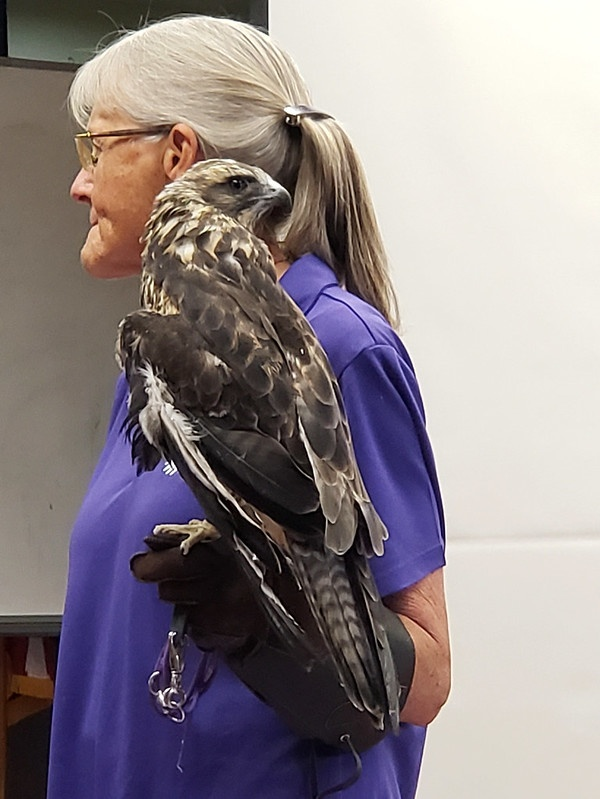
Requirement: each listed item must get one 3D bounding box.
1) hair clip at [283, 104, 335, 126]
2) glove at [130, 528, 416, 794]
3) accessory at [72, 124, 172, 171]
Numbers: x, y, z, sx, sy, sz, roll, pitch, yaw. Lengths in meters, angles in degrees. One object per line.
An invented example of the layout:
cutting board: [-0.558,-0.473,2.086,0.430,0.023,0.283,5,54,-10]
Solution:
hair clip: [0.014,-0.472,1.793,0.067,0.023,0.036,12,39,-29]
glove: [-0.062,0.343,1.545,0.410,0.301,0.136,33,64,5]
accessory: [-0.327,-0.427,1.888,0.129,0.037,0.117,-3,7,-3]
